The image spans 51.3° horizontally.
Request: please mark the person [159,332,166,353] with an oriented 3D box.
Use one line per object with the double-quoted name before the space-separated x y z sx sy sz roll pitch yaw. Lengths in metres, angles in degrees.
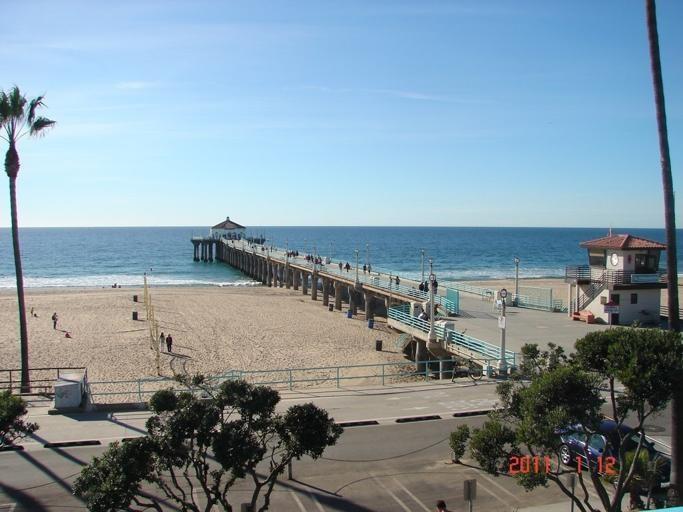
"person" -10.797 5.124 43.042 0.323 1.041 1.750 1 0 -15
